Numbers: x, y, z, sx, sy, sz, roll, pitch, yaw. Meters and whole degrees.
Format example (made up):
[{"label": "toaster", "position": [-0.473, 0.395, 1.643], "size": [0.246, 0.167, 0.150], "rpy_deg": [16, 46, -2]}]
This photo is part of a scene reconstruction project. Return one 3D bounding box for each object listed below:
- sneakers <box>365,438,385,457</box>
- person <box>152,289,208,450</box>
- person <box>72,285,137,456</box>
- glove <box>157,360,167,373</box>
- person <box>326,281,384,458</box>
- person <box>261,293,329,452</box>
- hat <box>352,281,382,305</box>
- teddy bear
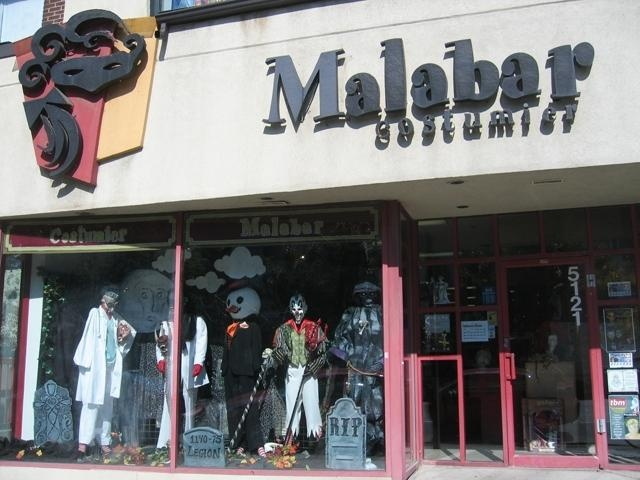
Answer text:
[{"label": "sneakers", "position": [0.726, 2.756, 8.954], "size": [0.226, 0.257, 0.197], "rpy_deg": [4, -18, 2]}, {"label": "person", "position": [-1.998, 1.933, 9.761], "size": [0.793, 2.096, 0.253], "rpy_deg": [-4, -12, 18]}, {"label": "person", "position": [-3.255, 1.948, 10.069], "size": [0.768, 2.346, 0.194], "rpy_deg": [-2, -11, 10]}, {"label": "glove", "position": [-2.288, 1.843, 9.830], "size": [0.123, 0.180, 0.166], "rpy_deg": [3, -2, -17]}, {"label": "person", "position": [0.525, 1.775, 9.142], "size": [0.653, 2.353, 0.284], "rpy_deg": [-2, -11, 8]}, {"label": "person", "position": [-0.322, 1.794, 9.461], "size": [0.856, 1.991, 0.215], "rpy_deg": [-6, -12, 26]}, {"label": "hat", "position": [0.635, 0.744, 9.221], "size": [0.281, 0.289, 0.311], "rpy_deg": [-3, -21, 3]}, {"label": "teddy bear", "position": [-1.099, 1.853, 9.617], "size": [0.613, 2.282, 0.207], "rpy_deg": [-4, -11, 16]}]
